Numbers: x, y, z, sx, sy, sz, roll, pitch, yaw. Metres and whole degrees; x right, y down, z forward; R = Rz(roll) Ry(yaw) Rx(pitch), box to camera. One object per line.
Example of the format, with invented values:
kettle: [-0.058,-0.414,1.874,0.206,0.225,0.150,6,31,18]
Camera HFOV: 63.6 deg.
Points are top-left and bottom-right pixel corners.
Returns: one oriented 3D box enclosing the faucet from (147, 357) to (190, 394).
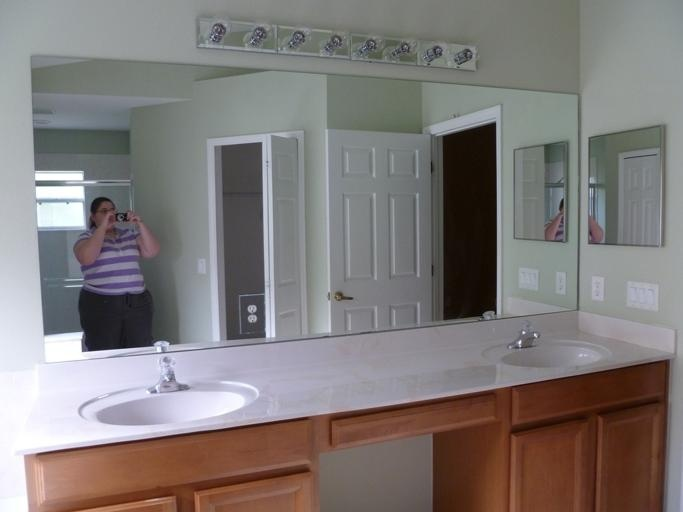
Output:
faucet: [-0.749,0.510,2.352,0.139,0.129,0.065,0,-1,-29]

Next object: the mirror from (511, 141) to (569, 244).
mirror: [1.082,-0.327,3.000,0.283,0.549,0.022,0,24,20]

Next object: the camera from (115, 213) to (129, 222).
camera: [-0.971,-0.169,2.420,0.053,0.036,0.012,0,5,-3]

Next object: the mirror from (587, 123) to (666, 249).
mirror: [1.454,-0.342,2.795,0.313,0.591,0.047,0,-8,25]

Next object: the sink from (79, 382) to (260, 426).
sink: [-0.686,0.612,2.249,0.698,0.131,0.239,-3,4,-8]
